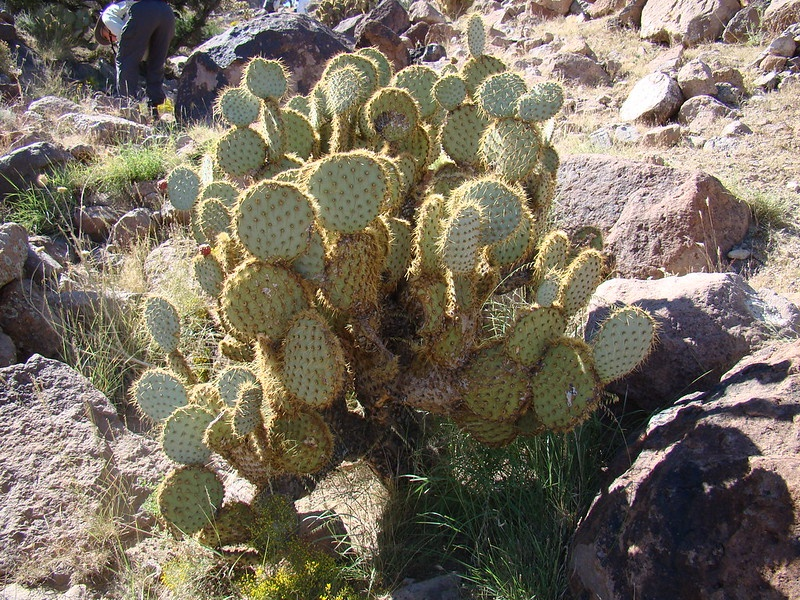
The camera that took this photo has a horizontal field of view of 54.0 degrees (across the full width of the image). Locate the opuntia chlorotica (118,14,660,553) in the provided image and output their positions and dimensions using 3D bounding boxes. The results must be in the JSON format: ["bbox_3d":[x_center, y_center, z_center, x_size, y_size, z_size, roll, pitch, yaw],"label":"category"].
[{"bbox_3d":[-0.180,-0.173,5.448,2.874,3.165,1.591,14,-7,-20],"label":"opuntia chlorotica"}]
